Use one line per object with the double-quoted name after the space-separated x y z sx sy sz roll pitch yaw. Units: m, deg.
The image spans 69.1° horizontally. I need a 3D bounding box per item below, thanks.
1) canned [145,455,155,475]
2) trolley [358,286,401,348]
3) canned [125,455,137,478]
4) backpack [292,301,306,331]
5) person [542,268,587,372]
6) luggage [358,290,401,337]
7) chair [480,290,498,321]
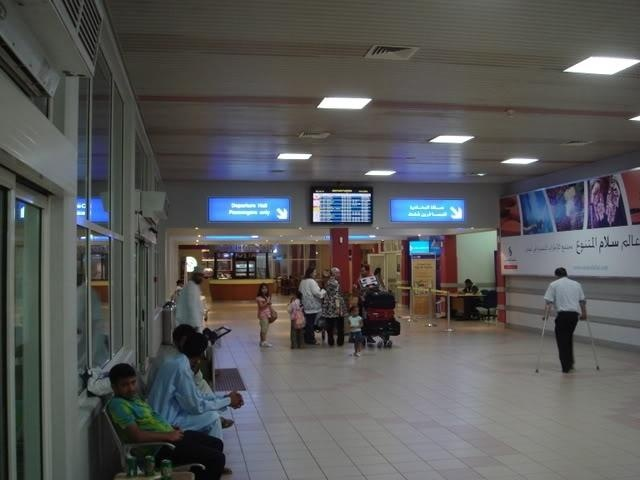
-1.162 1.546 3.178 0.054 0.133 0.072 0 -3 -19 "canned"
1.417 1.924 11.692 1.433 1.978 1.155 0 -10 -5 "trolley"
-1.281 1.551 3.174 0.061 0.158 0.125 0 -3 -21 "canned"
-0.497 1.801 11.179 0.342 0.689 0.209 2 -4 -42 "backpack"
4.545 1.475 8.589 0.661 1.886 0.889 -2 -3 28 "person"
1.481 1.822 11.321 0.862 1.114 0.387 -1 -3 4 "luggage"
6.243 2.349 17.202 0.578 1.109 2.950 -2 -3 19 "chair"
